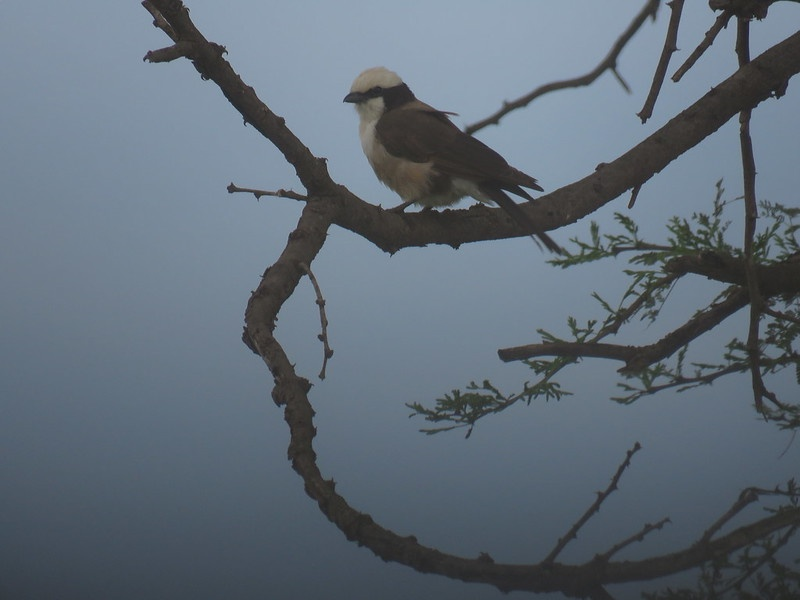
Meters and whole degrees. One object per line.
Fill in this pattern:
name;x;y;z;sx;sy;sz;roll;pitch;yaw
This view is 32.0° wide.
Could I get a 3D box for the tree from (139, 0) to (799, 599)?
tree;0.153;0.038;6.433;2.894;1.926;1.631;8;-39;-9
